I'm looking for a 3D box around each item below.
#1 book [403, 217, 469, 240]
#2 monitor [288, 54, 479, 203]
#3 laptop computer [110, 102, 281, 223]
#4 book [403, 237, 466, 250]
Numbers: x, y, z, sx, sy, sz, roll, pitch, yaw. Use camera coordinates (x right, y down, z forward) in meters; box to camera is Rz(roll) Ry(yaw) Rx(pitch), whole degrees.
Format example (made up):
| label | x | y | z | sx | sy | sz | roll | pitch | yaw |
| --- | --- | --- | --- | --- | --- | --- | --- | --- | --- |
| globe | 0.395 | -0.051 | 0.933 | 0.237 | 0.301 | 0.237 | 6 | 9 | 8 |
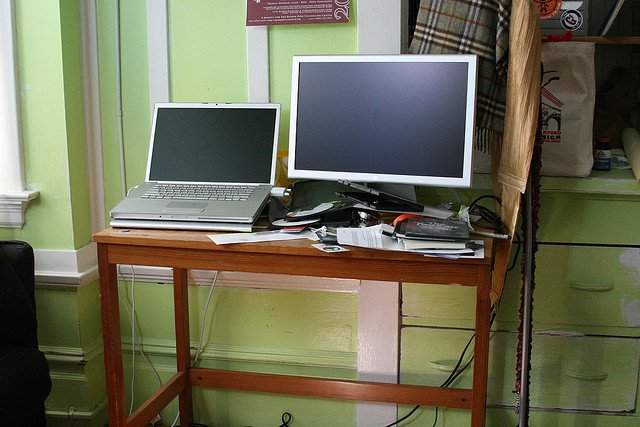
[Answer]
| label | x | y | z | sx | sy | sz | roll | pitch | yaw |
| --- | --- | --- | --- | --- | --- | --- | --- | --- | --- |
| book | 0.427 | 0.045 | 1.920 | 0.223 | 0.041 | 0.216 | 4 | 15 | 11 |
| monitor | 0.245 | -0.351 | 2.040 | 0.597 | 0.403 | 0.149 | 4 | 0 | 8 |
| laptop computer | -0.504 | -0.231 | 2.186 | 0.611 | 0.446 | 0.375 | 3 | 15 | 6 |
| book | 0.401 | 0.105 | 1.841 | 0.094 | 0.020 | 0.091 | 2 | 14 | -13 |
